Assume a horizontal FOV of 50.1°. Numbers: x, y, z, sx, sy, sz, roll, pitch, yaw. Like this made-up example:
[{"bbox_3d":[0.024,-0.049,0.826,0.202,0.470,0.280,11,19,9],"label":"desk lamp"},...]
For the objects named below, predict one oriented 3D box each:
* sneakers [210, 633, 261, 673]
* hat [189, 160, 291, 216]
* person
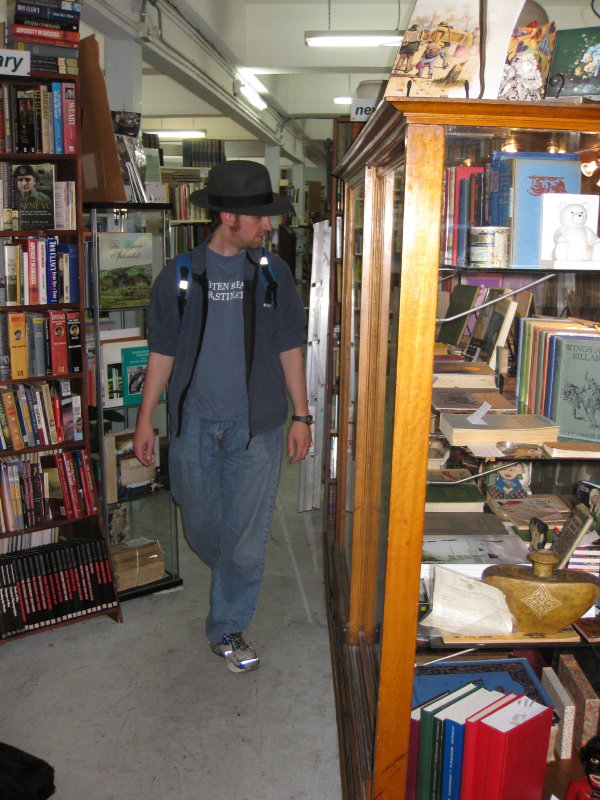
[{"bbox_3d":[-0.259,0.986,2.547,0.101,0.091,0.203,3,2,-39],"label":"sneakers"},{"bbox_3d":[-0.223,-0.745,2.238,0.406,0.147,0.353,-1,16,0],"label":"hat"},{"bbox_3d":[-0.312,0.097,2.436,0.651,1.919,0.393,2,8,13],"label":"person"}]
